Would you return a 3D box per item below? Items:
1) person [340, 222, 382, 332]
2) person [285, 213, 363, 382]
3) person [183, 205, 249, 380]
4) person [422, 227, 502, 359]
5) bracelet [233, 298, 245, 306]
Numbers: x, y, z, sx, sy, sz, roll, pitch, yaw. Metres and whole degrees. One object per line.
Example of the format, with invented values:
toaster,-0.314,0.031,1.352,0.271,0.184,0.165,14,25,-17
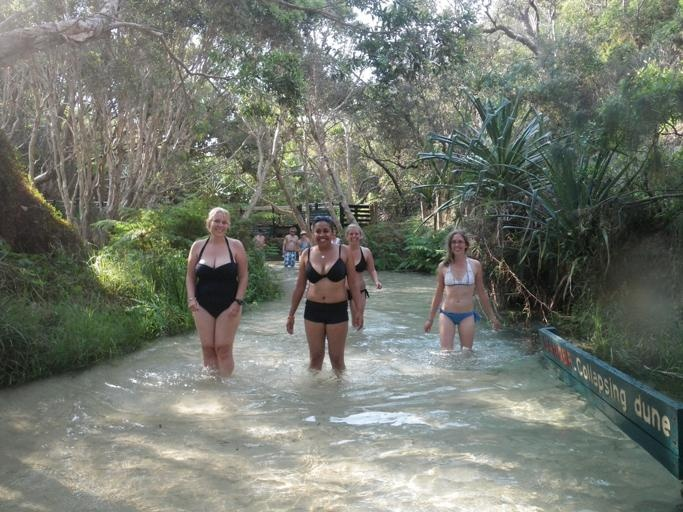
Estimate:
person,0.283,0.621,9.649,0.873,2.232,0.686,0,15,5
person,-0.211,0.508,6.592,0.836,1.980,0.485,0,6,-2
person,-1.547,0.461,6.623,0.726,2.098,0.524,-2,7,-15
person,1.743,0.870,7.632,1.076,2.462,0.612,-2,9,6
bracelet,-1.269,0.570,6.592,0.074,0.091,0.233,1,6,6
